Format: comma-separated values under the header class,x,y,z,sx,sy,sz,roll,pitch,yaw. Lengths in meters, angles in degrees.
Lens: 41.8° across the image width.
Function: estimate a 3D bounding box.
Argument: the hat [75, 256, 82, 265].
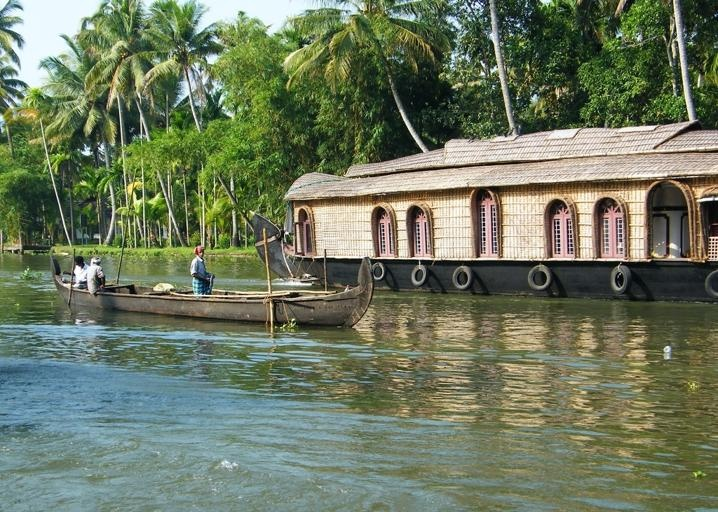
class,x,y,z,sx,sy,sz,roll,pitch,yaw
hat,-7.783,0.164,26.255,0.219,0.235,0.265,-2,11,-25
